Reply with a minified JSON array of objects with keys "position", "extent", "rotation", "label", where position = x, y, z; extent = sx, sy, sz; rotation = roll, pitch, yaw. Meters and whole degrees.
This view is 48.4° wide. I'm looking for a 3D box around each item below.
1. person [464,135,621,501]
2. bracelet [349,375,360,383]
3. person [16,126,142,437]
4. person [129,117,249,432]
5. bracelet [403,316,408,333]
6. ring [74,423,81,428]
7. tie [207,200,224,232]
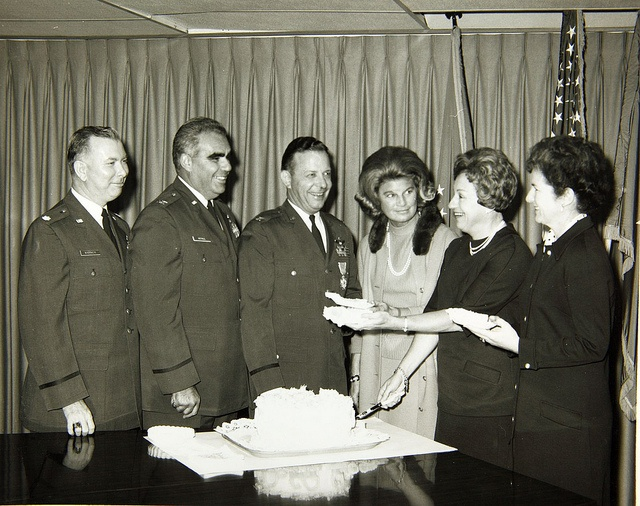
[{"position":[0.984,0.273,2.973],"extent":[0.483,1.501,0.393],"rotation":[2,9,23],"label":"person"},{"position":[0.179,0.661,3.713],"extent":[0.039,0.012,0.033],"rotation":[-18,36,-19],"label":"bracelet"},{"position":[-1.077,0.133,3.209],"extent":[0.463,1.388,0.697],"rotation":[2,9,20],"label":"person"},{"position":[-0.628,0.115,3.404],"extent":[0.571,1.507,0.491],"rotation":[-5,9,-25],"label":"person"},{"position":[0.381,0.315,3.163],"extent":[0.022,0.061,0.024],"rotation":[-1,8,0],"label":"bracelet"},{"position":[-1.024,0.722,2.979],"extent":[0.020,0.005,0.022],"rotation":[0,8,0],"label":"ring"},{"position":[-0.534,-0.196,3.541],"extent":[0.040,0.030,0.265],"rotation":[-8,39,-28],"label":"tie"}]
